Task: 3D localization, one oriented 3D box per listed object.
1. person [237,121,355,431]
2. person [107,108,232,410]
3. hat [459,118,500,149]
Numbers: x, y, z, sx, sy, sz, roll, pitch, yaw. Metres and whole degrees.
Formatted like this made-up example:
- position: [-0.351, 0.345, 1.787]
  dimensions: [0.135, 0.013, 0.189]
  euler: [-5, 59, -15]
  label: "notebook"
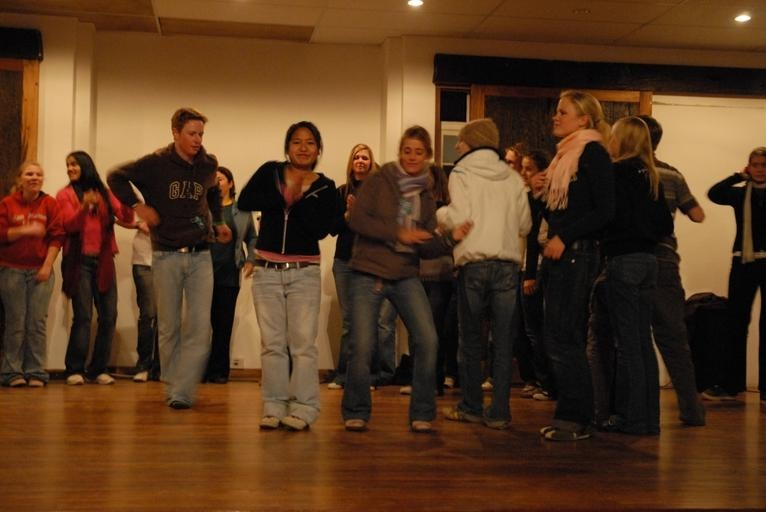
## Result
- position: [-0.700, 0.131, 5.558]
  dimensions: [0.657, 2.268, 0.457]
  euler: [-1, 3, -35]
  label: "person"
- position: [-1.717, 0.009, 6.170]
  dimensions: [0.863, 2.465, 0.447]
  euler: [0, 3, -17]
  label: "person"
- position: [0.774, -0.936, 5.802]
  dimensions: [0.216, 0.254, 0.276]
  euler: [-3, 22, -45]
  label: "hat"
